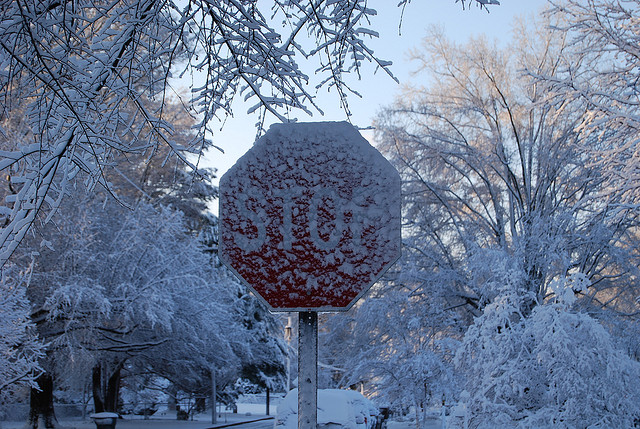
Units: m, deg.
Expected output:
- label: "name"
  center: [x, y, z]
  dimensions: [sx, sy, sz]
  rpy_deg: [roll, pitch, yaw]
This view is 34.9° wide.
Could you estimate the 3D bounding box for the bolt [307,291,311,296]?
- label: "bolt"
  center: [-0.203, 1.405, 17.658]
  dimensions: [0.077, 0.078, 0.011]
  rpy_deg: [0, -8, -15]
